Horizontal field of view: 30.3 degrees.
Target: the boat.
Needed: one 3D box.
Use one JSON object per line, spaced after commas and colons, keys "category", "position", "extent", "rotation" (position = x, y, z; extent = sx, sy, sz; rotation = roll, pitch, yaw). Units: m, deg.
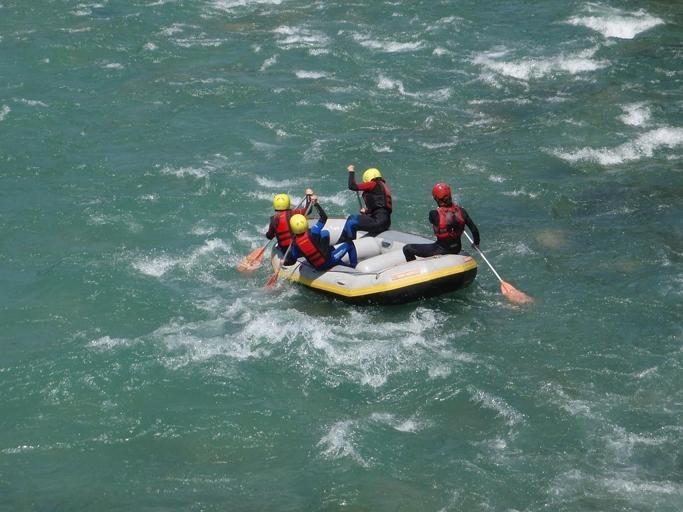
{"category": "boat", "position": [0.858, 0.533, 37.849], "extent": [5.149, 2.299, 3.914], "rotation": [-5, 15, -24]}
